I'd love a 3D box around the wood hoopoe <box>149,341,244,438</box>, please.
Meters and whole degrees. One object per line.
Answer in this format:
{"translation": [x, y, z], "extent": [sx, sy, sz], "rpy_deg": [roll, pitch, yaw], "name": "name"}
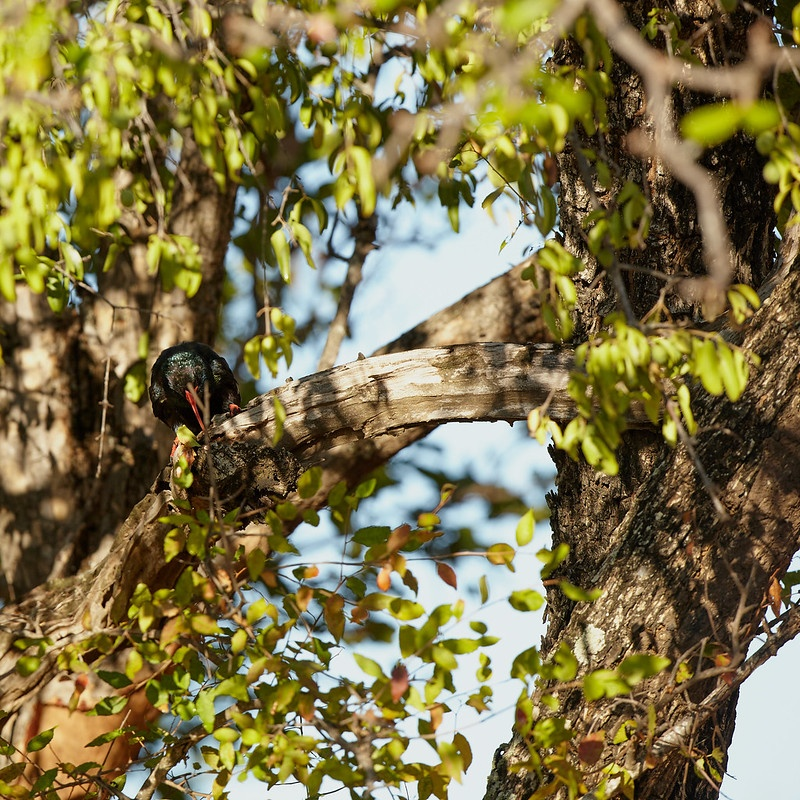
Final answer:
{"translation": [-0.746, -0.046, 7.325], "extent": [0.322, 0.451, 0.368], "rpy_deg": [-19, -77, -6], "name": "wood hoopoe"}
